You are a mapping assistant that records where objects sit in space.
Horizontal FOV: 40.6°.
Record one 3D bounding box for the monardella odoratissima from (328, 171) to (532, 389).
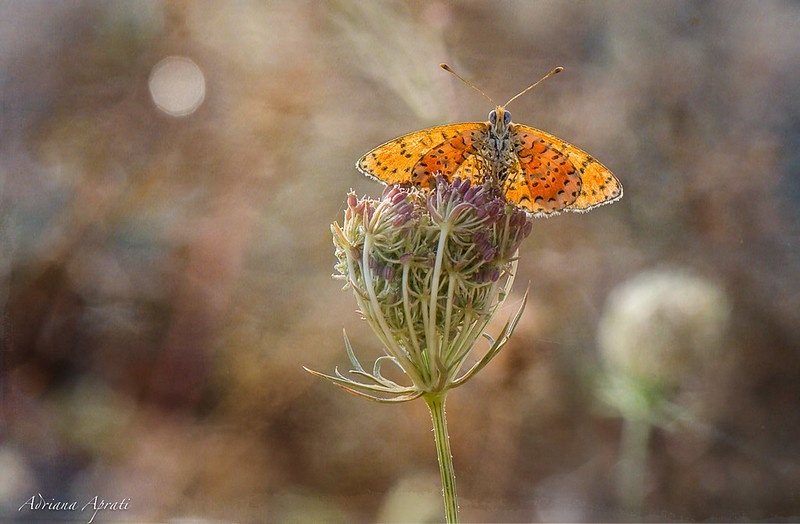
[{"bbox_3d":[0.086,0.001,3.705,0.553,0.452,0.604,30,60,26],"label":"monardella odoratissima"}]
